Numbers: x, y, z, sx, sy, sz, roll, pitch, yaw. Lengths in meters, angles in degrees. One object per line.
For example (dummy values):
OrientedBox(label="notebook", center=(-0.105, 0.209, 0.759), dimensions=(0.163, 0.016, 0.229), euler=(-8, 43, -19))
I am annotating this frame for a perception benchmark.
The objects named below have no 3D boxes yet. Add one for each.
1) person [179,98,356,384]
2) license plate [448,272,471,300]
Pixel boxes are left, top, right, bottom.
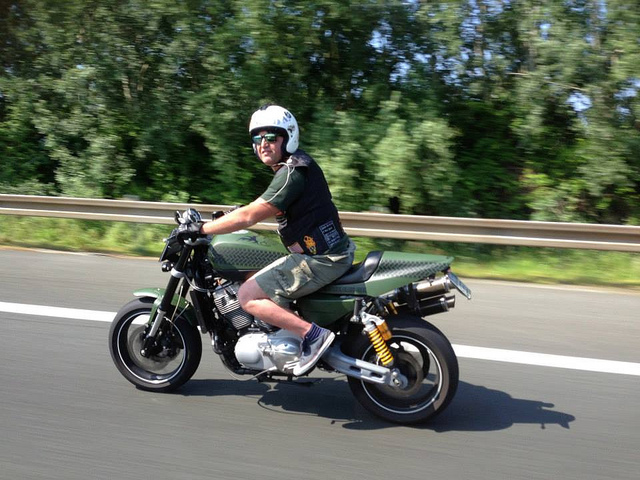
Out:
OrientedBox(label="person", center=(-0.312, 0.053, 5.199), dimensions=(1.373, 2.371, 0.572), euler=(7, 12, 2))
OrientedBox(label="license plate", center=(1.077, 0.369, 4.997), dimensions=(0.235, 0.056, 0.147), euler=(45, 25, 16))
